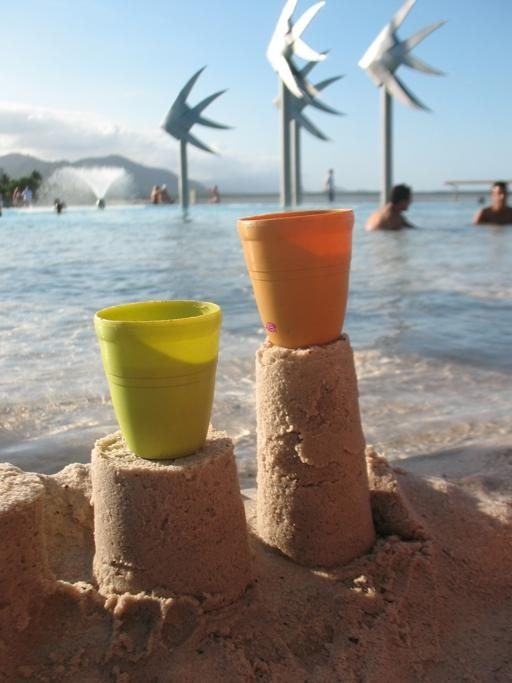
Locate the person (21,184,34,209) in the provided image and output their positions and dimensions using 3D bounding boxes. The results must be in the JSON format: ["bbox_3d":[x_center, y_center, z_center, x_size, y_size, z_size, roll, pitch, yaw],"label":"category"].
[{"bbox_3d":[-6.787,-4.284,19.387,0.316,0.611,0.924,-5,14,-18],"label":"person"}]

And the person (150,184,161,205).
[{"bbox_3d":[-4.453,-6.422,29.014,0.448,0.694,0.550,-1,13,-1],"label":"person"}]

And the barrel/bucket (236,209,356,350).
[{"bbox_3d":[0.126,-0.164,1.792,0.343,0.332,0.325,-4,5,0],"label":"barrel/bucket"}]

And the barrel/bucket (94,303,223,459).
[{"bbox_3d":[-0.242,0.096,1.657,0.299,0.369,0.309,-1,13,0],"label":"barrel/bucket"}]
